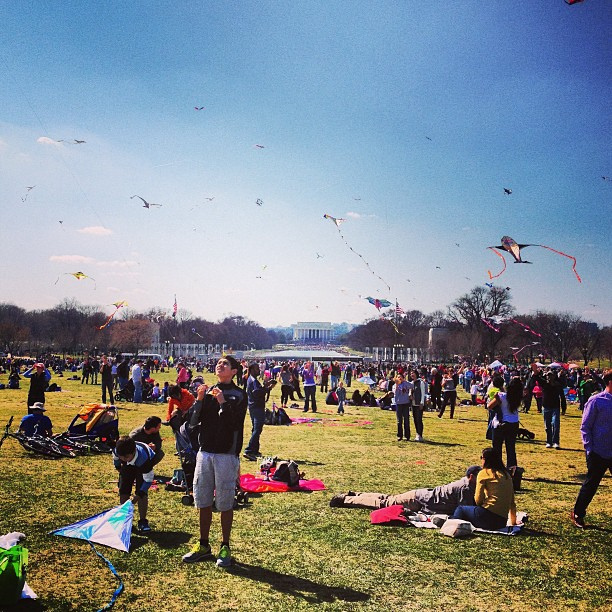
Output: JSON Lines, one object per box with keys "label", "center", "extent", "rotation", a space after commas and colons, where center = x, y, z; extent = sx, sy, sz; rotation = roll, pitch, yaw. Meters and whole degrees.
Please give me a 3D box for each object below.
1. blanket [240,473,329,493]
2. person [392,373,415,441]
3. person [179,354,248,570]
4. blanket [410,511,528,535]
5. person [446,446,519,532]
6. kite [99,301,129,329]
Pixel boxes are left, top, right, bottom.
{"label": "blanket", "center": [-0.356, 2.732, 10.042], "extent": [1.287, 0.107, 0.837], "rotation": [2, -6, -4]}
{"label": "person", "center": [2.155, 2.243, 14.867], "extent": [0.471, 1.506, 0.488], "rotation": [-4, -9, 27]}
{"label": "person", "center": [-0.940, 1.582, 7.053], "extent": [0.672, 2.182, 0.563], "rotation": [-8, -17, 30]}
{"label": "blanket", "center": [2.107, 2.713, 8.423], "extent": [1.383, 0.223, 0.610], "rotation": [0, -7, 14]}
{"label": "person", "center": [2.243, 2.333, 8.535], "extent": [0.938, 1.280, 0.939], "rotation": [8, -11, -31]}
{"label": "kite", "center": [-23.024, 1.884, 78.259], "extent": [2.369, 3.503, 0.529], "rotation": [33, -17, 44]}
